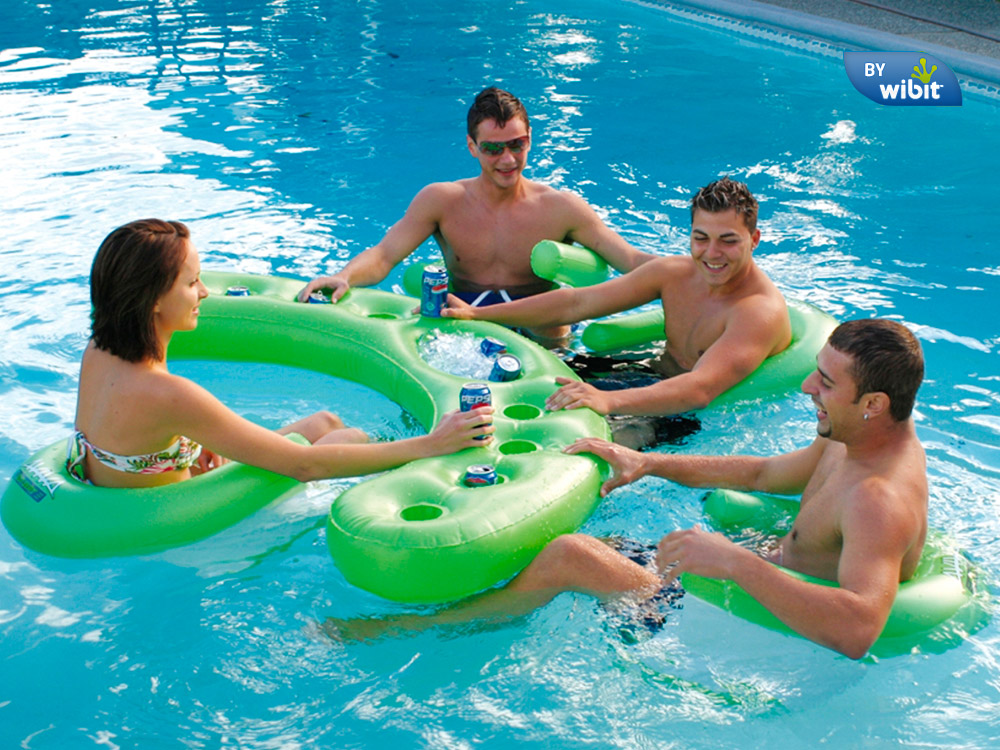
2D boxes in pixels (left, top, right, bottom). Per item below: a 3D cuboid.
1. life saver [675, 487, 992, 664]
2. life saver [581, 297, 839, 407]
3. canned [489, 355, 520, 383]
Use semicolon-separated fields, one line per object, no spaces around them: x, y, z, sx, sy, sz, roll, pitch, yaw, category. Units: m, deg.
1.532;0.860;3.992;0.929;0.185;0.839;4;9;-19;life saver
1.298;-0.087;5.287;0.977;0.180;0.800;-3;14;26;life saver
0.023;-0.024;4.960;0.097;0.133;0.089;-33;68;-24;canned
